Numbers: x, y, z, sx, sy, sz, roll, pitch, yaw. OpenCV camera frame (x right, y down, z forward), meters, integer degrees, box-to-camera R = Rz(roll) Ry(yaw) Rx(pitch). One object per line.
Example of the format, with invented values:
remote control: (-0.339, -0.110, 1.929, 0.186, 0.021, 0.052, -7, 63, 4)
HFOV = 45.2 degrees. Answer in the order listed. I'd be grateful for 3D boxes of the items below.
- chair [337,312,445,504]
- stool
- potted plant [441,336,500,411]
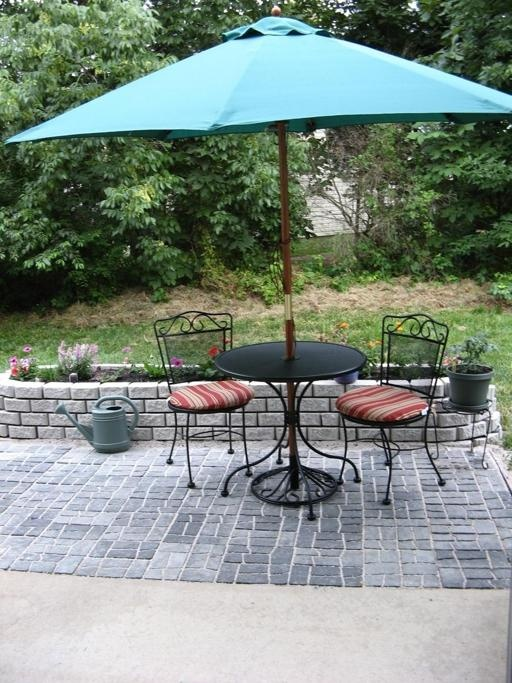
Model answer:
chair: (0.745, 0.354, 3.555, 0.629, 0.936, 0.546, -11, 15, -33)
stool: (1.250, 0.544, 3.727, 0.387, 0.348, 0.382, 13, -8, -30)
potted plant: (1.272, 0.184, 3.663, 0.330, 0.399, 0.304, -3, 7, -11)
